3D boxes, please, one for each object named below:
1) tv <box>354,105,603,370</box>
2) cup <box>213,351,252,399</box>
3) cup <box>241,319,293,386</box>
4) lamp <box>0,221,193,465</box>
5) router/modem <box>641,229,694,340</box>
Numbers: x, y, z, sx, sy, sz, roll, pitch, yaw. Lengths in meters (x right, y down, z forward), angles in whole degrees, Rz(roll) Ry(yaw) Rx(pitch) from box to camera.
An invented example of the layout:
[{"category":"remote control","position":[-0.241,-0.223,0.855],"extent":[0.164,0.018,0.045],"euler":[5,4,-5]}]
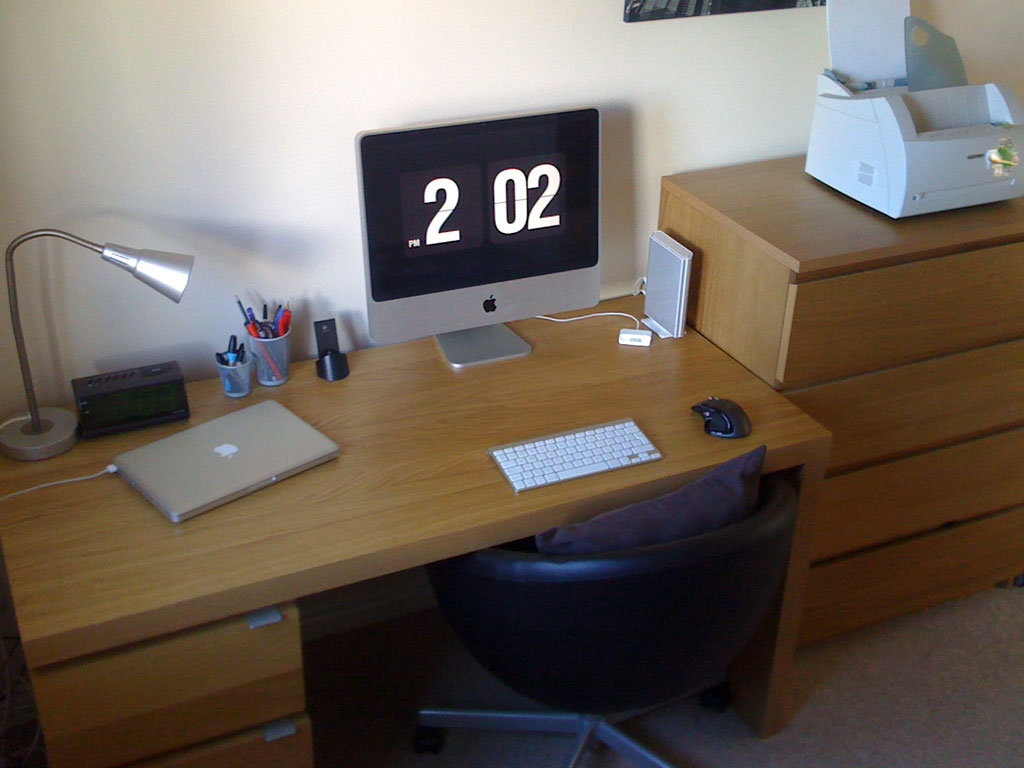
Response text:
[{"category":"tv","position":[-0.091,-0.378,2.008],"extent":[0.536,0.544,0.186],"euler":[-13,34,-21]},{"category":"cup","position":[-0.663,-0.018,1.944],"extent":[0.086,0.102,0.097],"euler":[-9,35,-19]},{"category":"cup","position":[-0.586,-0.081,2.022],"extent":[0.116,0.129,0.114],"euler":[0,28,0]},{"category":"lamp","position":[-0.963,-0.095,1.860],"extent":[0.452,0.532,0.219],"euler":[-7,39,-18]},{"category":"router/modem","position":[0.416,-0.255,2.162],"extent":[0.074,0.239,0.186],"euler":[-13,45,-19]}]
